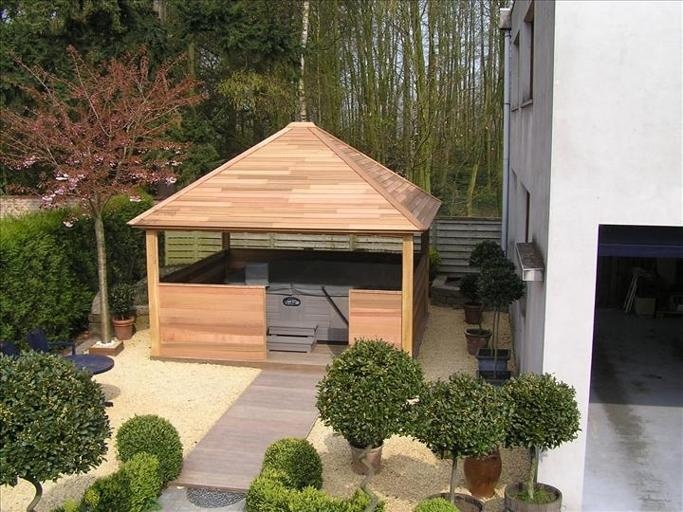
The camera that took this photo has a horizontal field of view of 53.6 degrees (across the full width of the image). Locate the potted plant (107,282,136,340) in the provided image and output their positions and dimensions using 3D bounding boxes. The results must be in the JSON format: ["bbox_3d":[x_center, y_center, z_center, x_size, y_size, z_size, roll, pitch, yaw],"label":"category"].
[{"bbox_3d":[-5.353,1.406,16.697,0.552,1.296,0.763,3,0,43],"label":"potted plant"}]
